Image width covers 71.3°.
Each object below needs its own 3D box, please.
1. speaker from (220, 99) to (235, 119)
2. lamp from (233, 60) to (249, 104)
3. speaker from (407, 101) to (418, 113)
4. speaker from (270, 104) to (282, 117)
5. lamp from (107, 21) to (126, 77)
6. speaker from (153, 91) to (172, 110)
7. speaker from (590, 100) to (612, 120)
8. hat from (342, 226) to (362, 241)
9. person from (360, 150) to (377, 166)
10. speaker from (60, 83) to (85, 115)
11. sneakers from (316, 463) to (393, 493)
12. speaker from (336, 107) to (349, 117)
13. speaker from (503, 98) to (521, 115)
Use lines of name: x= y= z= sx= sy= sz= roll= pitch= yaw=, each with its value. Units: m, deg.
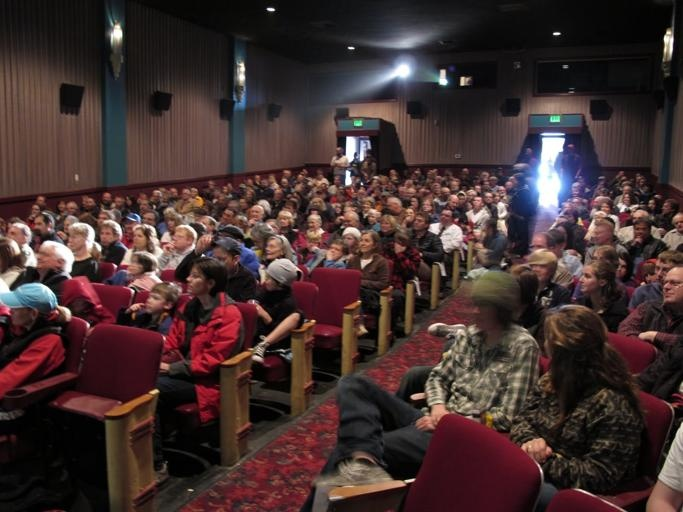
speaker: x=-4.004 y=-5.093 z=16.581 sx=0.322 sy=0.676 sz=0.516 roll=5 pitch=12 yaw=30
lamp: x=-3.639 y=-6.200 z=17.010 sx=0.247 sy=1.504 sz=0.796 roll=1 pitch=11 yaw=11
speaker: x=2.994 y=-6.300 z=20.206 sx=0.553 sy=0.485 sz=0.180 roll=-2 pitch=4 yaw=24
speaker: x=-2.696 y=-5.855 z=19.105 sx=0.308 sy=0.500 sz=0.605 roll=9 pitch=18 yaw=18
lamp: x=-5.729 y=-5.207 z=12.091 sx=0.216 sy=1.393 sz=0.465 roll=2 pitch=11 yaw=14
speaker: x=-5.196 y=-4.459 z=13.807 sx=0.353 sy=0.522 sz=0.721 roll=0 pitch=10 yaw=7
speaker: x=10.010 y=-5.650 z=18.509 sx=0.887 sy=0.808 sz=0.768 roll=3 pitch=2 yaw=28
hat: x=0.133 y=-0.301 z=6.409 sx=0.191 sy=0.130 sz=0.167 roll=8 pitch=-3 yaw=-13
person: x=0.989 y=-3.842 z=18.544 sx=0.527 sy=0.685 sz=0.721 roll=3 pitch=-2 yaw=28
speaker: x=-6.357 y=-3.674 z=11.238 sx=0.303 sy=0.675 sz=0.601 roll=2 pitch=11 yaw=16
sneakers: x=0.045 y=0.838 z=1.819 sx=0.292 sy=0.096 sz=0.110 roll=2 pitch=47 yaw=-3
speaker: x=0.026 y=-6.271 z=20.912 sx=0.583 sy=0.431 sz=0.386 roll=-2 pitch=10 yaw=-6
speaker: x=6.877 y=-6.015 z=19.392 sx=0.666 sy=0.633 sz=0.403 roll=2 pitch=3 yaw=4
